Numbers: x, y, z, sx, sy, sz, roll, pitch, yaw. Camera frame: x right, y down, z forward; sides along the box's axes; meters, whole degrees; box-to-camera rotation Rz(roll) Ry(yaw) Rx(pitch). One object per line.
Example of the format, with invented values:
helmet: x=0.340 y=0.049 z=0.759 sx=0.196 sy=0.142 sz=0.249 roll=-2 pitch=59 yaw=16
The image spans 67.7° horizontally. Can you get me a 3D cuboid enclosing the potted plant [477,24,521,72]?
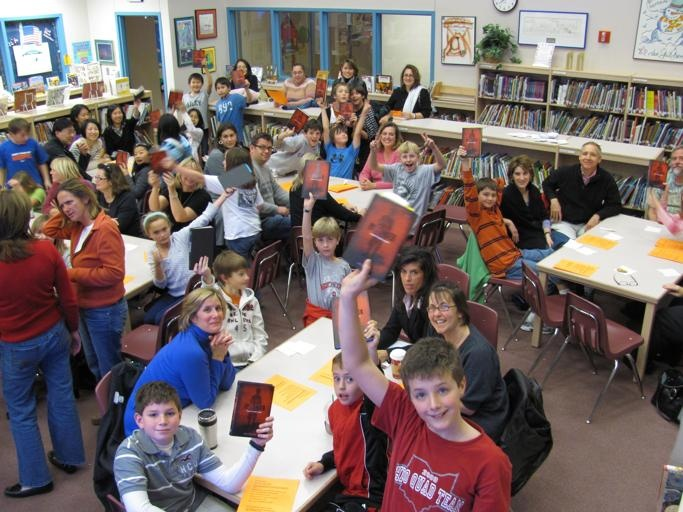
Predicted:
potted plant: x=2.739 y=-3.524 z=8.978 sx=0.688 sy=0.849 sz=0.938 roll=2 pitch=29 yaw=12

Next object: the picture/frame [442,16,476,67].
picture/frame: x=2.167 y=-3.963 z=9.280 sx=0.757 sy=1.030 sz=0.039 roll=14 pitch=28 yaw=30

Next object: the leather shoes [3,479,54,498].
leather shoes: x=-2.308 y=1.720 z=3.783 sx=0.330 sy=0.136 sz=0.131 roll=0 pitch=15 yaw=-10

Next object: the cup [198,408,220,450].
cup: x=-0.800 y=1.048 z=3.057 sx=0.137 sy=0.252 sz=0.147 roll=-3 pitch=27 yaw=1

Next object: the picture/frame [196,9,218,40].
picture/frame: x=-3.070 y=-5.269 z=11.518 sx=0.041 sy=0.656 sz=0.609 roll=8 pitch=23 yaw=35
